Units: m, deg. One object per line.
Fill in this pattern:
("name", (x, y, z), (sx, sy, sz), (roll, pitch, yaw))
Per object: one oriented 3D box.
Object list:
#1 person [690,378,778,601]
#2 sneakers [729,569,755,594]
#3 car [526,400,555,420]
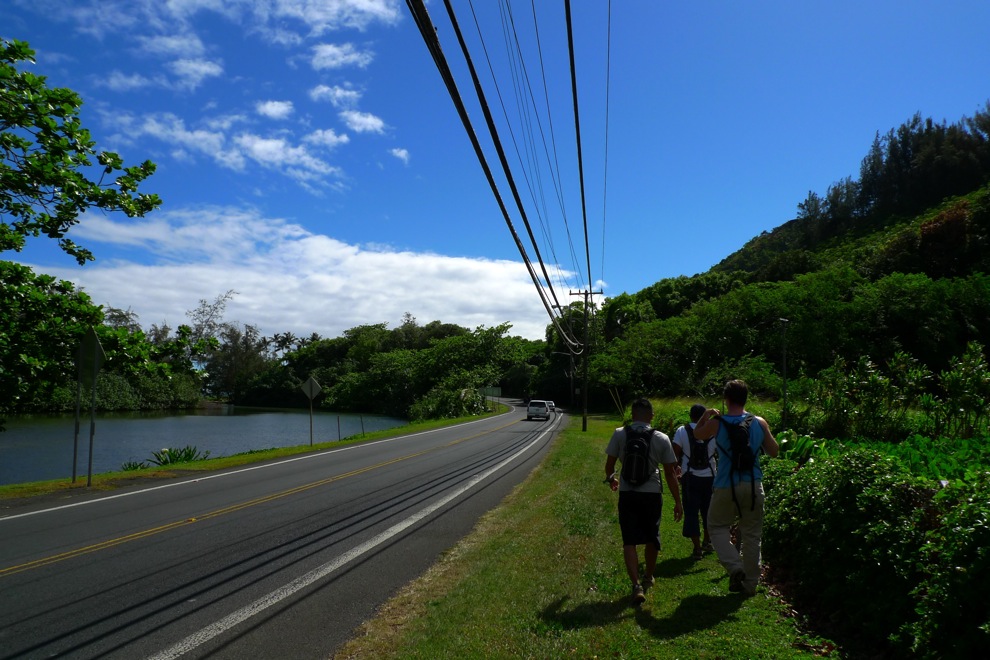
("person", (4.025, 2.630, 10.670), (1.097, 3.387, 0.725), (5, 12, 27))
("sneakers", (4.062, 4.204, 10.572), (0.221, 0.504, 0.227), (-5, -10, 22))
("car", (3.228, 5.867, 45.716), (1.268, 1.080, 2.905), (0, 1, 12))
